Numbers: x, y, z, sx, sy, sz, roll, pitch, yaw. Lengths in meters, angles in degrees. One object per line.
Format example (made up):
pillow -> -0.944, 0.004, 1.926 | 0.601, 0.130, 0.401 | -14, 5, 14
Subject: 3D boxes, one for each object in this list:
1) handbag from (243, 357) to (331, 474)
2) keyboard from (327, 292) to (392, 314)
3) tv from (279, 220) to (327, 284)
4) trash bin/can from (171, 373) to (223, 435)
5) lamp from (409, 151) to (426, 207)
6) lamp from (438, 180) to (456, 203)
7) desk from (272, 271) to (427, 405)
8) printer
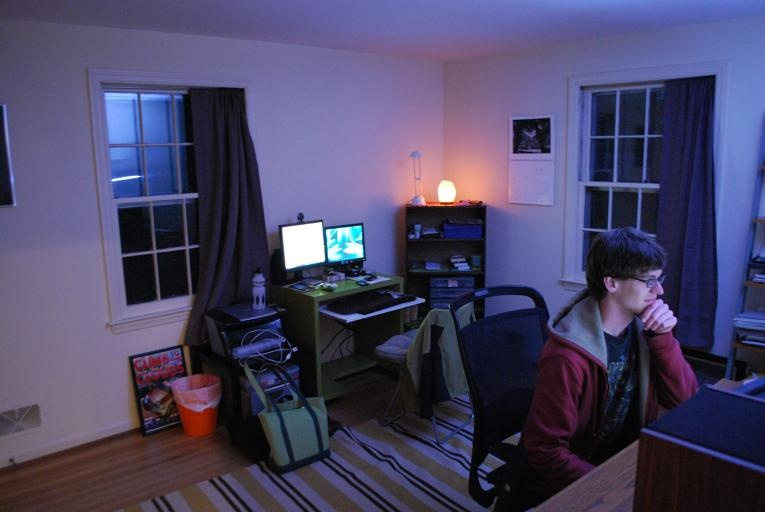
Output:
handbag -> -0.794, 1.297, 4.266 | 0.583, 0.816, 0.444 | -12, -16, -46
keyboard -> -0.184, 0.438, 4.946 | 0.418, 0.059, 0.239 | -17, 25, -38
tv -> -0.782, -0.057, 5.112 | 0.558, 0.557, 0.213 | -9, 8, -41
trash bin/can -> -1.543, 1.246, 4.717 | 0.486, 0.501, 0.464 | -1, 10, 4
lamp -> 0.388, -0.861, 5.896 | 0.155, 0.575, 0.447 | -2, 10, 5
lamp -> 0.723, -0.719, 5.975 | 0.236, 0.282, 0.238 | 1, 1, 7
desk -> -0.359, 0.758, 5.300 | 1.152, 1.119, 1.482 | 9, 14, 39
printer -> -1.199, 0.641, 4.609 | 0.481, 0.301, 0.487 | 7, 12, 37
